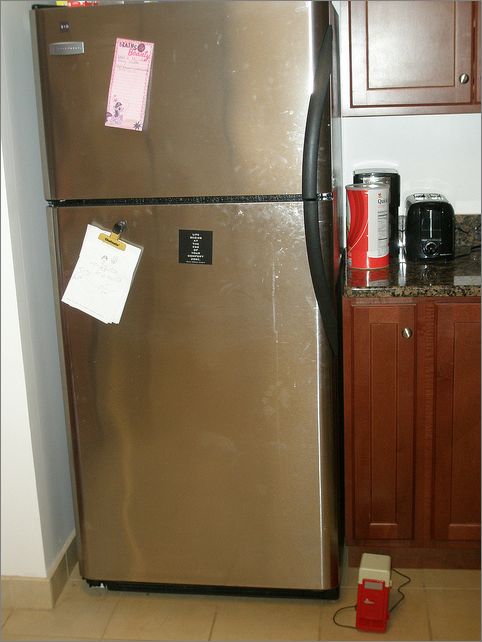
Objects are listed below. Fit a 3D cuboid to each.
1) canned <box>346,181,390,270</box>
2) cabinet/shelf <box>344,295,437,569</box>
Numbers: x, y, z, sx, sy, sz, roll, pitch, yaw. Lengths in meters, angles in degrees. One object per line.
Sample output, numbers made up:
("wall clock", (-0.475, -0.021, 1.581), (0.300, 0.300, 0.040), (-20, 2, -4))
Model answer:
("canned", (0.350, -0.254, 1.715), (0.112, 0.230, 0.078), (0, 13, 11))
("cabinet/shelf", (0.401, 0.312, 1.708), (0.229, 0.779, 0.077), (-1, 13, 8))
